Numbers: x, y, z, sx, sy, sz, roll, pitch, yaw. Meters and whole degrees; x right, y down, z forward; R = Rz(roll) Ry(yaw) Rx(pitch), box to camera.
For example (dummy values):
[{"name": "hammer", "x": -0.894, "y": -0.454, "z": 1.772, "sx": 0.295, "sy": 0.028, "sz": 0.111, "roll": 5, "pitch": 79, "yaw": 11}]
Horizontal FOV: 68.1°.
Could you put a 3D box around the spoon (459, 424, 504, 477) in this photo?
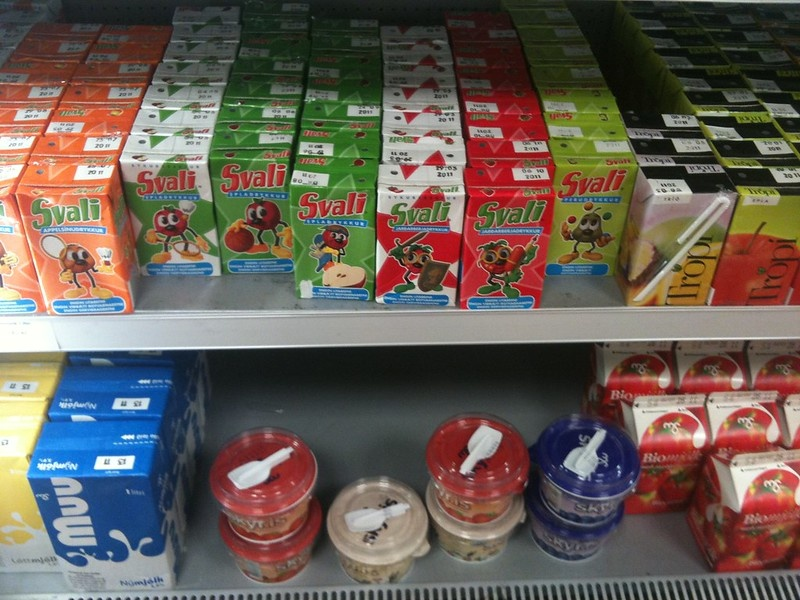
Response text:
[{"name": "spoon", "x": 0.245, "y": 0.449, "z": 1.787, "sx": 0.084, "sy": 0.039, "sz": 0.159, "roll": 24, "pitch": 44, "yaw": 26}]

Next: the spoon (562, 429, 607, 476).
[{"name": "spoon", "x": 0.560, "y": 0.466, "z": 1.788, "sx": 0.163, "sy": 0.041, "sz": 0.076, "roll": -39, "pitch": 49, "yaw": -24}]

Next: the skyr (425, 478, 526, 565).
[{"name": "skyr", "x": 0.207, "y": 0.711, "z": 1.863, "sx": 0.308, "sy": 0.130, "sz": 0.250, "roll": 16, "pitch": 43, "yaw": 20}]

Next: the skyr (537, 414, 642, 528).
[{"name": "skyr", "x": 0.575, "y": 0.537, "z": 1.858, "sx": 0.298, "sy": 0.258, "sz": 0.280, "roll": -13, "pitch": 37, "yaw": -15}]

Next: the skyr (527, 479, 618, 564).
[{"name": "skyr", "x": 0.504, "y": 0.702, "z": 1.874, "sx": 0.272, "sy": 0.133, "sz": 0.210, "roll": 15, "pitch": 39, "yaw": 13}]

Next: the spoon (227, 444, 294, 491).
[{"name": "spoon", "x": -0.411, "y": 0.488, "z": 1.734, "sx": 0.087, "sy": 0.044, "sz": 0.133, "roll": 35, "pitch": 62, "yaw": 30}]
